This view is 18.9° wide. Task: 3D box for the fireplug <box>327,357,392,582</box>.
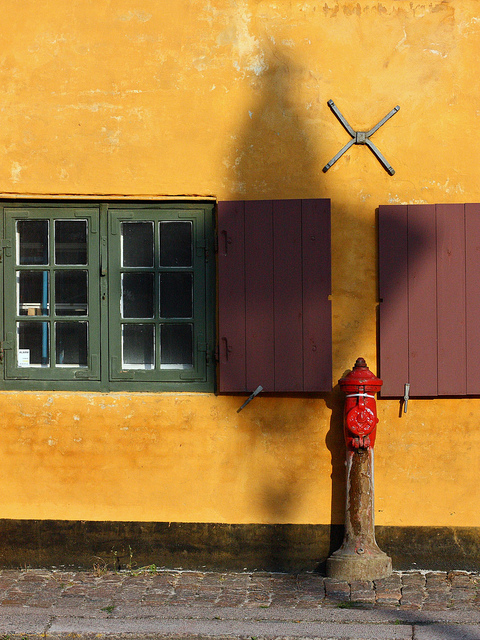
[{"bbox_3d":[0.757,0.973,9.199,0.386,1.387,0.324,-2,7,-11],"label":"fireplug"}]
